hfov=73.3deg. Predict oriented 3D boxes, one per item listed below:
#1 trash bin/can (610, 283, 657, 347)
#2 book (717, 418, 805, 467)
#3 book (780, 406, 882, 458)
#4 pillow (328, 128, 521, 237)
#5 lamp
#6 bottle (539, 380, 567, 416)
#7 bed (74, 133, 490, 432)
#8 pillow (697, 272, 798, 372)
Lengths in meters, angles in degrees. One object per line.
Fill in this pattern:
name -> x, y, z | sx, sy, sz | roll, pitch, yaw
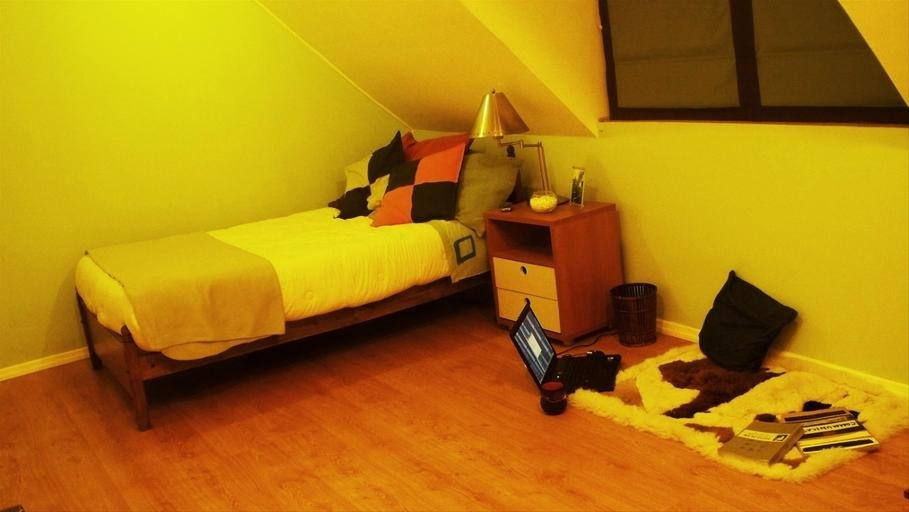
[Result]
trash bin/can -> 1.277, 0.387, 4.334 | 0.460, 0.405, 0.405 | 1, 16, 21
book -> 1.615, 0.983, 3.233 | 0.236, 0.063, 0.309 | 3, 19, 38
book -> 2.009, 0.936, 3.271 | 0.269, 0.056, 0.253 | -6, 17, 3
pillow -> -0.101, -0.635, 4.818 | 1.497, 0.865, 0.433 | 8, -14, 39
lamp -> 0.505, -0.797, 4.451 | 0.619, 0.802, 0.690 | 6, 26, 21
bottle -> 0.576, 0.861, 3.720 | 0.207, 0.157, 0.188 | -3, 5, -14
bed -> -1.285, 0.378, 4.633 | 2.532, 1.113, 1.431 | -13, 23, -21
pillow -> 1.851, 0.428, 3.803 | 0.265, 0.510, 0.522 | 4, 21, -46
